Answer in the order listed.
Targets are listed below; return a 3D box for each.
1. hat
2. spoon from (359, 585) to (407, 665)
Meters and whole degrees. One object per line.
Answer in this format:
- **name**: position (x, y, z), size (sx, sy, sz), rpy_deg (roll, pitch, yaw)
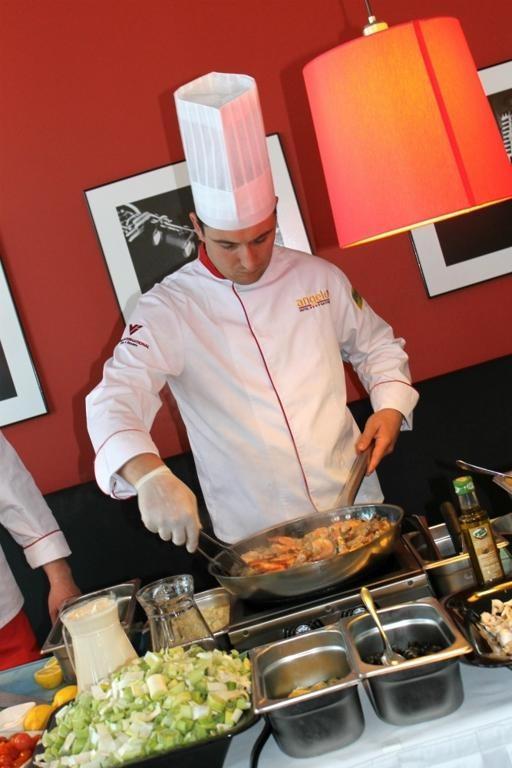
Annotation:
- **hat**: position (-0.062, -0.526, 1.364), size (0.217, 0.296, 0.148), rpy_deg (-21, 9, 6)
- **spoon**: position (0.154, 0.298, 0.747), size (0.029, 0.108, 0.018), rpy_deg (-16, -11, -19)
